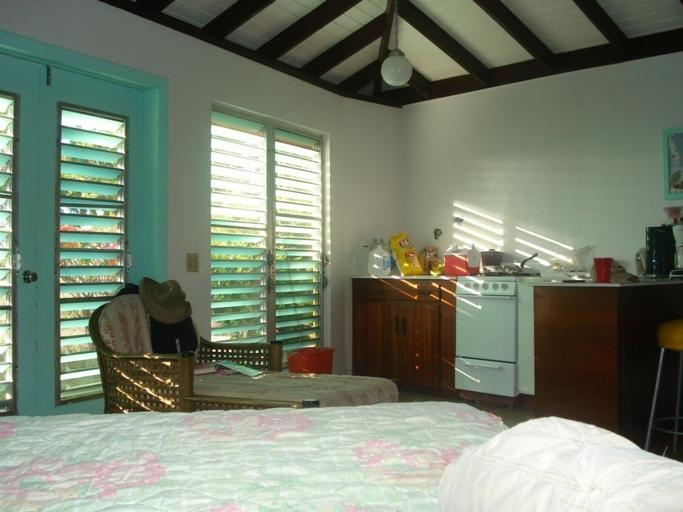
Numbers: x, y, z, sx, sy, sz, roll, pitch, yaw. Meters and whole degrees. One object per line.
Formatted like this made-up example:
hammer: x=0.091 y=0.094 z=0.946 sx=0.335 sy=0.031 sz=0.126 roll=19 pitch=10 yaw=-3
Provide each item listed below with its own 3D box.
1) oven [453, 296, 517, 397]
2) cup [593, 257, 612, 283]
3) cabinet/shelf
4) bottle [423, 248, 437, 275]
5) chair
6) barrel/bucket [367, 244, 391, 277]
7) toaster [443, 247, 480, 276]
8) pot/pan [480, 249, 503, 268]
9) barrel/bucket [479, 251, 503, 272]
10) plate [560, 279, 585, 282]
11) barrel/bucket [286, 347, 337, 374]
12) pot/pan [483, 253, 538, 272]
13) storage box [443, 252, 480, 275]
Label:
oven: x=1.184 y=0.864 z=4.448 sx=0.568 sy=0.917 sz=0.628 roll=2 pitch=14 yaw=16
cup: x=1.619 y=0.092 z=3.253 sx=0.090 sy=0.149 sz=0.155 roll=-5 pitch=-5 yaw=24
cabinet/shelf: x=0.585 y=0.671 z=4.807 sx=0.983 sy=0.943 sz=0.491 roll=-1 pitch=-2 yaw=25
bottle: x=0.865 y=0.043 z=5.069 sx=0.137 sy=0.272 sz=0.388 roll=-4 pitch=-4 yaw=10
chair: x=-0.515 y=0.485 z=2.674 sx=1.307 sy=0.792 sz=0.795 roll=-3 pitch=-3 yaw=26
barrel/bucket: x=0.350 y=0.056 z=4.752 sx=0.193 sy=0.286 sz=0.284 roll=1 pitch=1 yaw=6
toaster: x=1.036 y=0.073 z=4.559 sx=0.190 sy=0.278 sz=0.304 roll=2 pitch=-1 yaw=-40
pot/pan: x=1.309 y=0.025 z=4.530 sx=0.140 sy=0.094 sz=0.138 roll=-2 pitch=1 yaw=-37
barrel/bucket: x=1.294 y=0.048 z=4.500 sx=0.167 sy=0.121 sz=0.167 roll=1 pitch=-8 yaw=0
plate: x=1.561 y=0.169 z=3.555 sx=0.123 sy=0.030 sz=0.534 roll=-4 pitch=-5 yaw=23
barrel/bucket: x=-0.226 y=0.799 z=4.013 sx=0.268 sy=0.186 sz=0.218 roll=4 pitch=-7 yaw=-27
pot/pan: x=1.429 y=0.067 z=4.479 sx=0.390 sy=0.150 sz=0.225 roll=1 pitch=0 yaw=38
storage box: x=1.036 y=0.082 z=4.536 sx=0.224 sy=0.164 sz=0.228 roll=-1 pitch=-1 yaw=23
